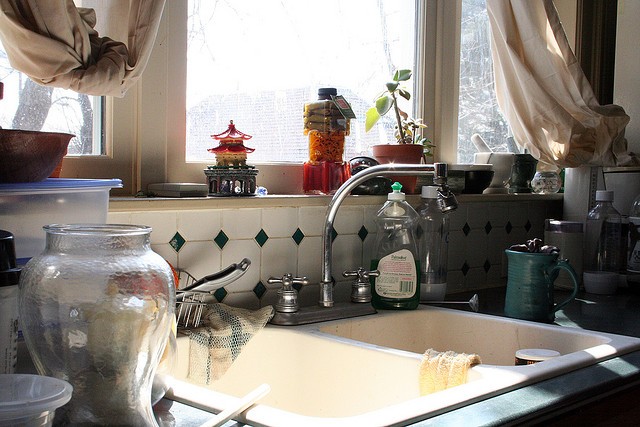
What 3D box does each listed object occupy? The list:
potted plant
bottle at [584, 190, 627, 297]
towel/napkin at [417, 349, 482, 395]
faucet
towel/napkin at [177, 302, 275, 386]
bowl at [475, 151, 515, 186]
[{"bbox_3d":[0.277,-0.305,1.812,0.221,0.440,0.181,0,4,10],"label":"potted plant"},{"bbox_3d":[1.132,0.112,1.929,0.217,0.398,0.121,0,0,-27],"label":"bottle"},{"bbox_3d":[0.278,0.353,1.060,0.131,0.084,0.097,0,0,18],"label":"towel/napkin"},{"bbox_3d":[0.194,0.062,1.419,0.380,0.416,0.140,0,0,5],"label":"faucet"},{"bbox_3d":[-0.241,0.343,1.210,0.174,0.056,0.171,16,40,40],"label":"towel/napkin"},{"bbox_3d":[0.756,-0.201,2.124,0.138,0.129,0.149,-1,-6,0],"label":"bowl"}]
